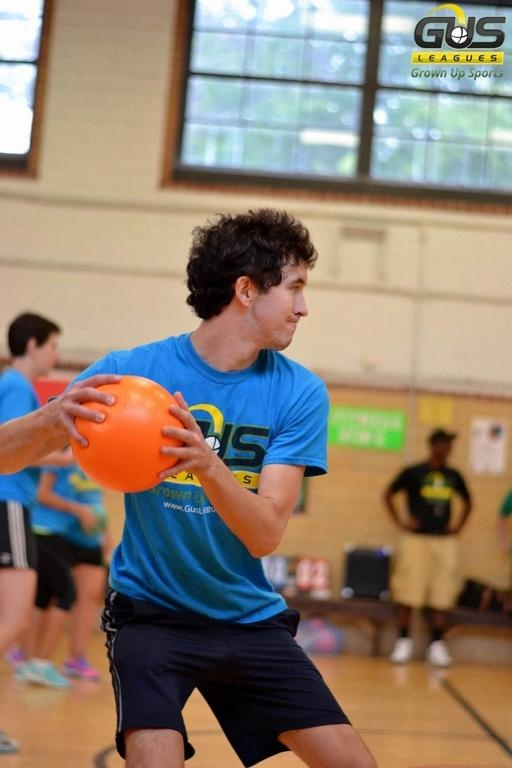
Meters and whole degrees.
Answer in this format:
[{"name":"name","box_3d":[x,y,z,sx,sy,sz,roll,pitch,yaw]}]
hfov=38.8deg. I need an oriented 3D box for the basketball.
[{"name":"basketball","box_3d":[-0.148,0.064,1.012,0.161,0.140,0.145,3,2,6]}]
